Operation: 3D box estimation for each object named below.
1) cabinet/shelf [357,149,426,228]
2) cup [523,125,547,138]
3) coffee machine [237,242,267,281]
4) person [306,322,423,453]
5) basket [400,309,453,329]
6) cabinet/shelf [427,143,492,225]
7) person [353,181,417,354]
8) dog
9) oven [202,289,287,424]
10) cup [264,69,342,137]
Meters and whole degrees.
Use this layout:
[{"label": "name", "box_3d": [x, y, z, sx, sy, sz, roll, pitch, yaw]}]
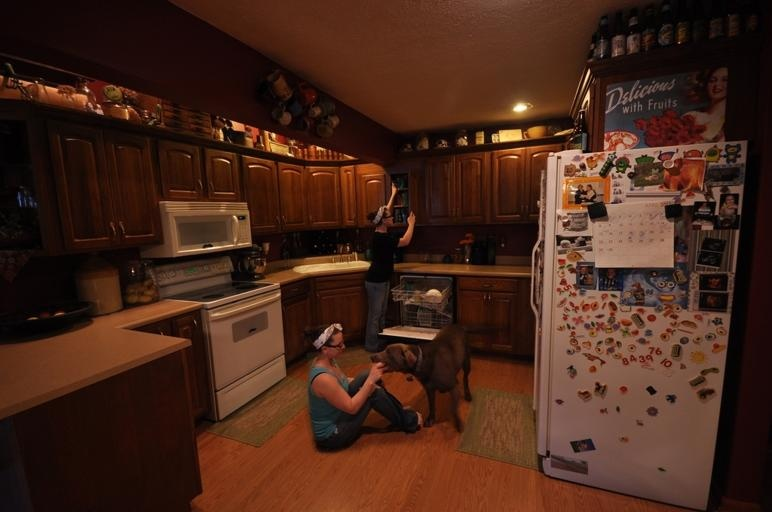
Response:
[{"label": "cabinet/shelf", "box_3d": [0.068, -0.714, 5.873, 0.803, 0.762, 0.255, -2, 4, 9]}, {"label": "cup", "box_3d": [1.577, -1.312, 5.289, 0.188, 0.084, 0.161, -2, -2, 40]}, {"label": "coffee machine", "box_3d": [-1.340, 0.072, 5.014, 0.363, 0.374, 0.236, -2, 8, -5]}, {"label": "person", "box_3d": [-0.284, 0.943, 4.289, 1.102, 1.125, 0.667, -7, 17, -17]}, {"label": "basket", "box_3d": [0.431, 0.647, 5.481, 0.412, 0.143, 0.252, 6, 7, 35]}, {"label": "cabinet/shelf", "box_3d": [0.845, -0.774, 5.744, 0.786, 0.810, 0.381, 2, 11, 25]}, {"label": "person", "box_3d": [-0.012, 0.130, 5.486, 0.749, 2.495, 0.869, -4, 27, -10]}, {"label": "dog", "box_3d": [0.458, 0.997, 4.179, 0.353, 0.806, 1.426, -7, 3, 33]}, {"label": "oven", "box_3d": [-1.425, 0.802, 4.622, 0.818, 1.031, 0.916, 0, 11, 20]}, {"label": "cup", "box_3d": [-0.695, -1.295, 4.191, 0.374, 0.345, 0.565, -21, -28, 33]}]
